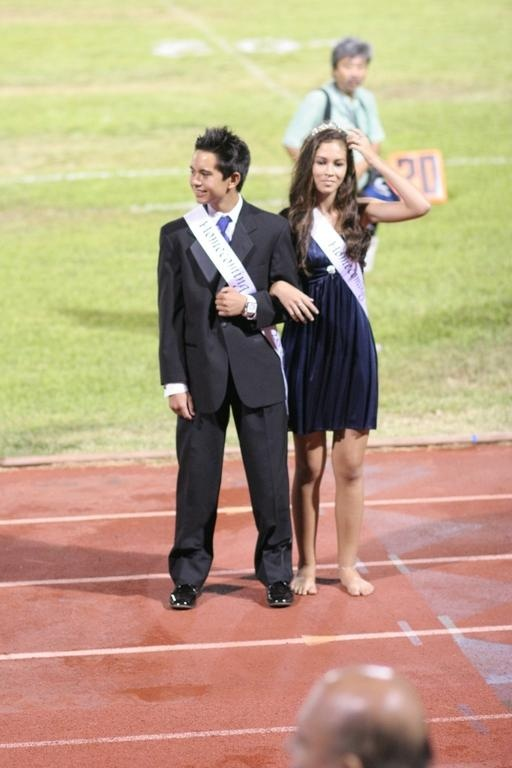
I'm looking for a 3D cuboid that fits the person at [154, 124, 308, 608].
[{"bbox_3d":[-0.102,-0.036,3.897,0.508,1.763,0.322,-1,14,2],"label":"person"}]

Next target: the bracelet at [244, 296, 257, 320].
[{"bbox_3d":[-0.023,-0.269,3.730,0.036,0.068,0.053,7,4,15],"label":"bracelet"}]

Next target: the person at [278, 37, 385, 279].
[{"bbox_3d":[0.556,-1.321,6.685,0.656,1.555,0.517,-6,16,-15],"label":"person"}]

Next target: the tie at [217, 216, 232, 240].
[{"bbox_3d":[-0.116,-0.556,3.794,0.042,0.087,0.044,4,14,20],"label":"tie"}]
